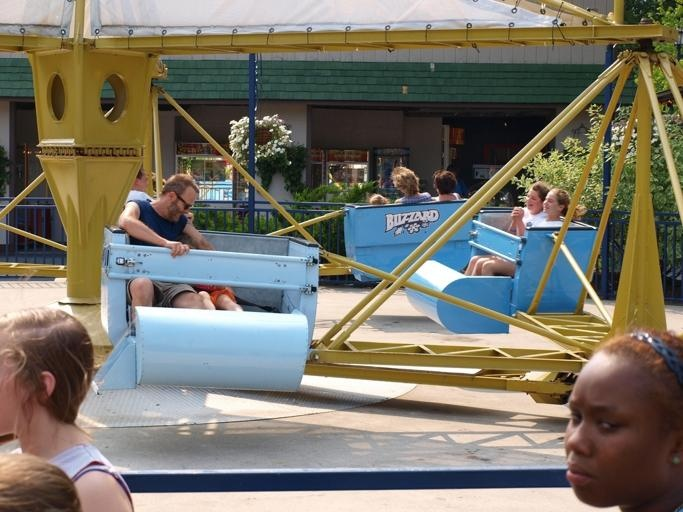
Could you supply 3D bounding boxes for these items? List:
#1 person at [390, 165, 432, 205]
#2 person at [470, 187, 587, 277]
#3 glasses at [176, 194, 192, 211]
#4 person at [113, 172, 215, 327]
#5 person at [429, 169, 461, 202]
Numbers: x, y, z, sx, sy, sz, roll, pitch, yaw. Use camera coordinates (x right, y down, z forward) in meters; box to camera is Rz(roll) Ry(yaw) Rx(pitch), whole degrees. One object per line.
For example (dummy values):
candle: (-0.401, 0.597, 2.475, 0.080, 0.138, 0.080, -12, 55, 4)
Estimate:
person: (0.918, -0.925, 15.848, 0.493, 0.470, 1.173, 1, 9, -2)
person: (1.949, -0.220, 12.704, 1.118, 1.006, 1.146, 1, 9, 0)
glasses: (-1.372, -0.455, 10.549, 0.117, 0.124, 0.037, 10, -36, -34)
person: (-1.471, -0.050, 10.500, 0.826, 1.317, 0.881, 5, -2, -4)
person: (1.379, -0.908, 15.702, 0.325, 0.405, 0.831, 2, 9, 5)
